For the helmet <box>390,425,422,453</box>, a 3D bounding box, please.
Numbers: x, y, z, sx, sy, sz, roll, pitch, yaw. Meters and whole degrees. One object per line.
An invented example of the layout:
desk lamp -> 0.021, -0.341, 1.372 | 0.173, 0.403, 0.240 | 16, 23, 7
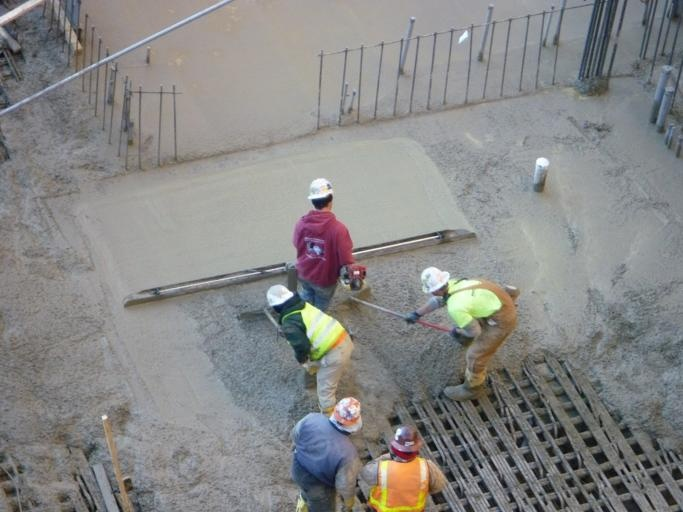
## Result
helmet -> 0.707, 2.022, 12.122 | 0.321, 0.326, 0.290 | 1, 35, 8

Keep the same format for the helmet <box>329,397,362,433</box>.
helmet -> 0.001, 1.820, 12.369 | 0.377, 0.399, 0.366 | -5, 69, -9

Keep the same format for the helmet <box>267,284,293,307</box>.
helmet -> -0.723, 0.480, 13.017 | 0.300, 0.281, 0.244 | -5, 35, 0

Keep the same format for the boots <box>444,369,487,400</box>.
boots -> 1.550, 1.697, 13.778 | 0.620, 0.449, 0.262 | 2, 50, 1

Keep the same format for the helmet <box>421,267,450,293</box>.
helmet -> 1.134, 0.287, 13.306 | 0.280, 0.198, 0.325 | -8, 36, 34

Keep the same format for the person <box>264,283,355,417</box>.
person -> -0.330, 1.243, 13.502 | 0.984, 2.212, 0.703 | 13, 45, 20

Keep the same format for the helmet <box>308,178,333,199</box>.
helmet -> -0.265, -0.850, 13.643 | 0.259, 0.193, 0.291 | -2, 35, 3
